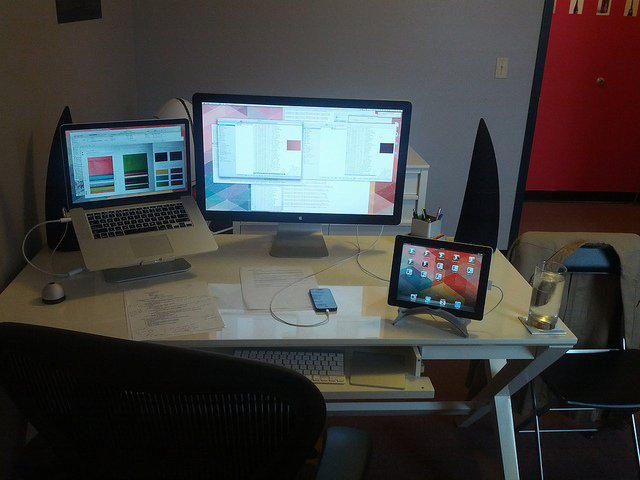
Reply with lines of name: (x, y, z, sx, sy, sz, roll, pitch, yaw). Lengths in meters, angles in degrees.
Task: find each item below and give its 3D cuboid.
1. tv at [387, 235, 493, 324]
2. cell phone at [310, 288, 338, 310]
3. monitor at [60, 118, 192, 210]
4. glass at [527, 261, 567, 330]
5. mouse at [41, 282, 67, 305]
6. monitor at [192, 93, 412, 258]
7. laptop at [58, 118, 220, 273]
tv: (0.402, 0.156, 1.639, 0.037, 0.234, 0.301, 30, -27, -23)
cell phone: (0.008, 0.193, 1.702, 0.071, 0.025, 0.118, -4, 22, -14)
monitor: (-0.593, -0.226, 1.749, 0.445, 0.299, 0.253, -13, 26, -41)
glass: (0.715, 0.167, 1.653, 0.088, 0.164, 0.193, 11, 23, 22)
mouse: (-0.835, 0.171, 1.634, 0.063, 0.048, 0.064, 18, 27, 32)
monitor: (-0.076, -0.232, 1.891, 0.655, 0.489, 0.193, 2, 34, -3)
laptop: (-0.610, -0.166, 1.770, 0.443, 0.438, 0.266, -9, 24, -26)
